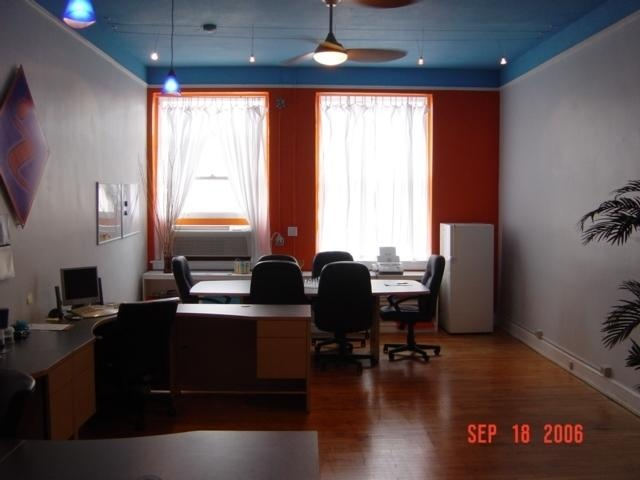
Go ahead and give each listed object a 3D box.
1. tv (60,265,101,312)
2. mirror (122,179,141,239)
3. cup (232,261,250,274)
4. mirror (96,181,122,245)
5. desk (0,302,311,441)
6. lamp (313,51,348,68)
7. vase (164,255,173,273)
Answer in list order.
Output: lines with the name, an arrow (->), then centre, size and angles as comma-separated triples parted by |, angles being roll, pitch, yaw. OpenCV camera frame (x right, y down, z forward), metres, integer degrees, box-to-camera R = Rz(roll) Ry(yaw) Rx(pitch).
tv -> -2.325, 0.484, 4.939 | 0.127, 0.400, 0.361 | -12, -6, 43
mirror -> -2.624, -0.425, 7.003 | 0.031, 0.777, 1.008 | 17, -1, -23
cup -> -1.101, 0.391, 7.119 | 0.245, 0.210, 0.151 | 0, -2, 1
mirror -> -2.461, -0.311, 6.069 | 0.644, 0.717, 0.017 | -2, -6, 38
desk -> -1.699, 1.018, 4.055 | 1.322, 0.610, 1.394 | -2, 6, -18
lamp -> 0.081, -1.667, 4.691 | 0.272, 0.087, 0.252 | -8, 12, -40
vase -> -2.129, 0.342, 7.116 | 0.097, 0.233, 0.092 | -1, 8, -6
